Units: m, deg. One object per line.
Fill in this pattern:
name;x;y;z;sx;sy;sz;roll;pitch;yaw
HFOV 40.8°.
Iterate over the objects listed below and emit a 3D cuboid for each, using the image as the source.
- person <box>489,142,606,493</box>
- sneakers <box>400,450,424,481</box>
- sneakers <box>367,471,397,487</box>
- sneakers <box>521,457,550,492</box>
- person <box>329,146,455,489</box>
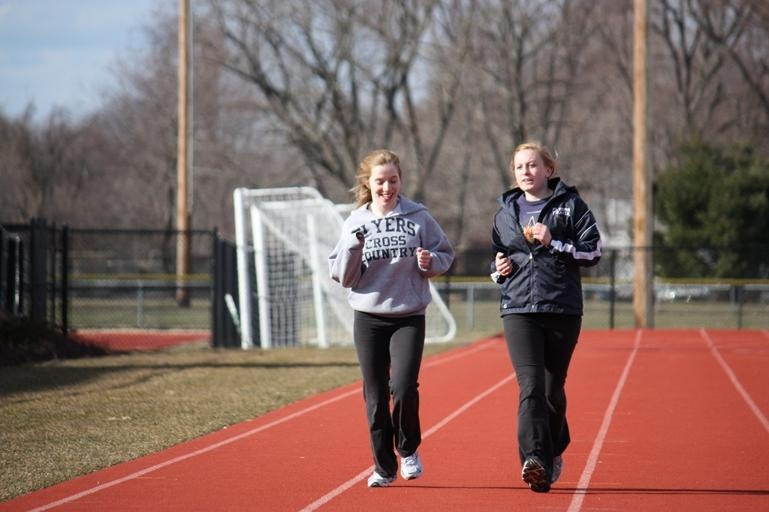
person;1.727;0.640;11.072;1.015;3.635;1.077;-4;10;-26
sneakers;0.288;2.266;11.060;0.139;0.189;0.409;-6;29;8
sneakers;-0.012;2.400;11.080;0.307;0.162;0.145;2;4;-1
sneakers;1.566;2.262;10.702;0.213;0.412;0.181;-7;30;33
person;0.096;0.682;11.133;1.190;3.578;0.869;1;9;4
